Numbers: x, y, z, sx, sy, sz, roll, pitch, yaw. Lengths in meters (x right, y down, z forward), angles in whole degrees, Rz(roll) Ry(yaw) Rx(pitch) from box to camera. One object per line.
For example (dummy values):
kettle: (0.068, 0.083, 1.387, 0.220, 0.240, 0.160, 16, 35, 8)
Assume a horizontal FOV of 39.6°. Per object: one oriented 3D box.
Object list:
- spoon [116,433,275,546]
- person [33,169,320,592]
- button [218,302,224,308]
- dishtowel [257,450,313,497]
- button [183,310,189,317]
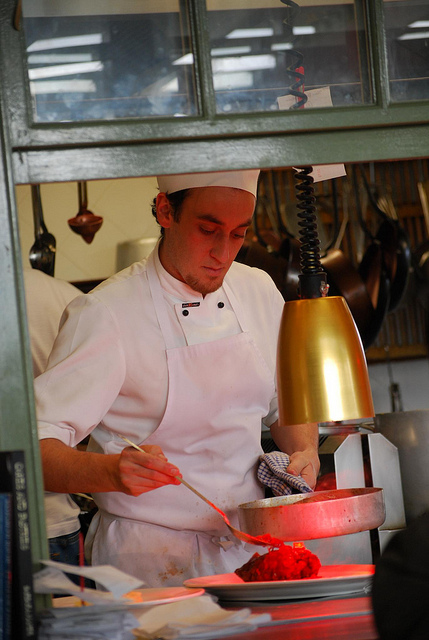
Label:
spoon: (-0.057, 0.375, 1.299, 0.466, 0.065, 0.068, 32, -23, 4)
person: (-0.085, 0.161, 1.468, 0.601, 1.082, 0.518, -2, 1, -9)
button: (0.017, -0.039, 1.522, 0.017, 0.014, 0.004, 4, -10, -20)
dishtowel: (0.148, 0.359, 1.373, 0.155, 0.085, 0.156, -1, 8, -6)
button: (-0.068, -0.017, 1.442, 0.016, 0.014, 0.004, 2, -10, -12)
